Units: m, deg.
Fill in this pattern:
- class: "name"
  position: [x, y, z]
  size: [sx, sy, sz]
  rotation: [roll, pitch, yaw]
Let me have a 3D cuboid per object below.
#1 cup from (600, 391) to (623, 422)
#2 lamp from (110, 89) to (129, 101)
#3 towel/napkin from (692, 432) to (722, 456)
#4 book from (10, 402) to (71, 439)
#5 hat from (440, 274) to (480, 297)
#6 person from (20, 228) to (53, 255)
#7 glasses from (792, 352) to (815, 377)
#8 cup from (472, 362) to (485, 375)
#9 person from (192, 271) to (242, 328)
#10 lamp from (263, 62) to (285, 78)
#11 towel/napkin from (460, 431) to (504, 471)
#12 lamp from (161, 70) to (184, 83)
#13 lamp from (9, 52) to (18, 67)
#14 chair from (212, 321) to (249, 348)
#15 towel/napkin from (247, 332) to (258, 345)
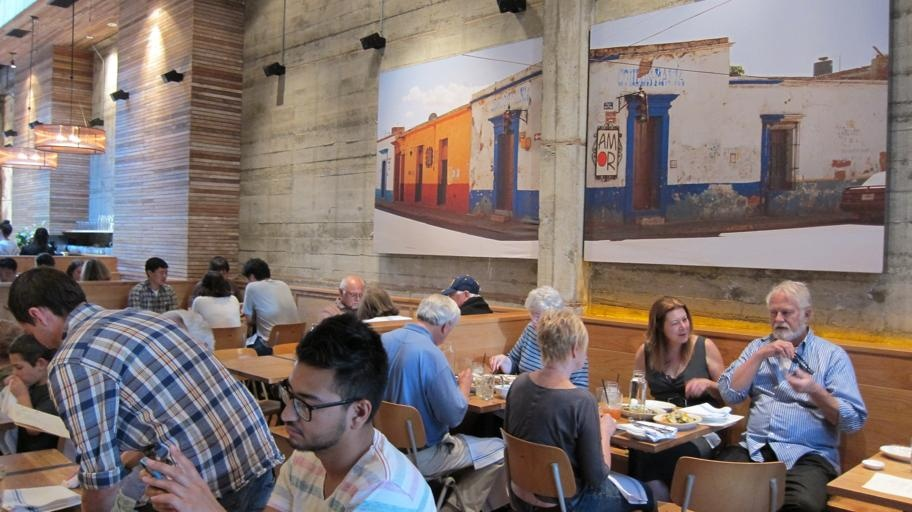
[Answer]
- class: "cup"
  position: [1.362, 1.332, 5.425]
  size: [0.236, 0.246, 0.233]
  rotation: [1, -7, 0]
- class: "lamp"
  position: [-7.379, -3.474, 13.363]
  size: [0.489, 0.261, 0.112]
  rotation: [-3, -5, -8]
- class: "towel/napkin"
  position: [2.331, 1.735, 5.658]
  size: [0.290, 0.234, 0.092]
  rotation: [-13, -18, -30]
- class: "book"
  position: [-3.051, 1.210, 4.491]
  size: [0.451, 0.115, 0.451]
  rotation: [1, -12, 39]
- class: "hat"
  position: [0.057, 0.373, 7.737]
  size: [0.393, 0.211, 0.245]
  rotation: [4, -5, 3]
- class: "person"
  position: [-8.722, -0.293, 12.728]
  size: [0.510, 0.632, 0.731]
  rotation: [1, -1, -36]
- class: "glasses"
  position: [3.044, 0.954, 5.393]
  size: [0.293, 0.087, 0.069]
  rotation: [35, 27, 12]
- class: "cup"
  position: [0.214, 1.130, 6.092]
  size: [0.106, 0.078, 0.111]
  rotation: [0, -6, 0]
- class: "person"
  position: [-3.472, 0.538, 9.244]
  size: [0.466, 0.833, 0.610]
  rotation: [-30, -13, 24]
- class: "lamp"
  position: [-3.415, -3.474, 11.378]
  size: [0.491, 0.246, 0.266]
  rotation: [-1, -1, 42]
- class: "towel/napkin"
  position: [0.256, 1.795, 5.663]
  size: [0.373, 0.129, 0.273]
  rotation: [2, 29, -26]
- class: "lamp"
  position: [-5.530, -3.474, 11.943]
  size: [0.351, 0.224, 0.327]
  rotation: [-3, 8, -26]
- class: "lamp"
  position: [-13.032, -5.791, 18.049]
  size: [0.303, 0.329, 0.292]
  rotation: [-2, 5, -24]
- class: "chair"
  position: [-2.713, 1.006, 7.504]
  size: [0.271, 0.439, 0.322]
  rotation: [-3, 9, -41]
- class: "towel/napkin"
  position: [-2.842, 1.156, 8.512]
  size: [0.130, 0.097, 0.195]
  rotation: [0, -9, -18]
